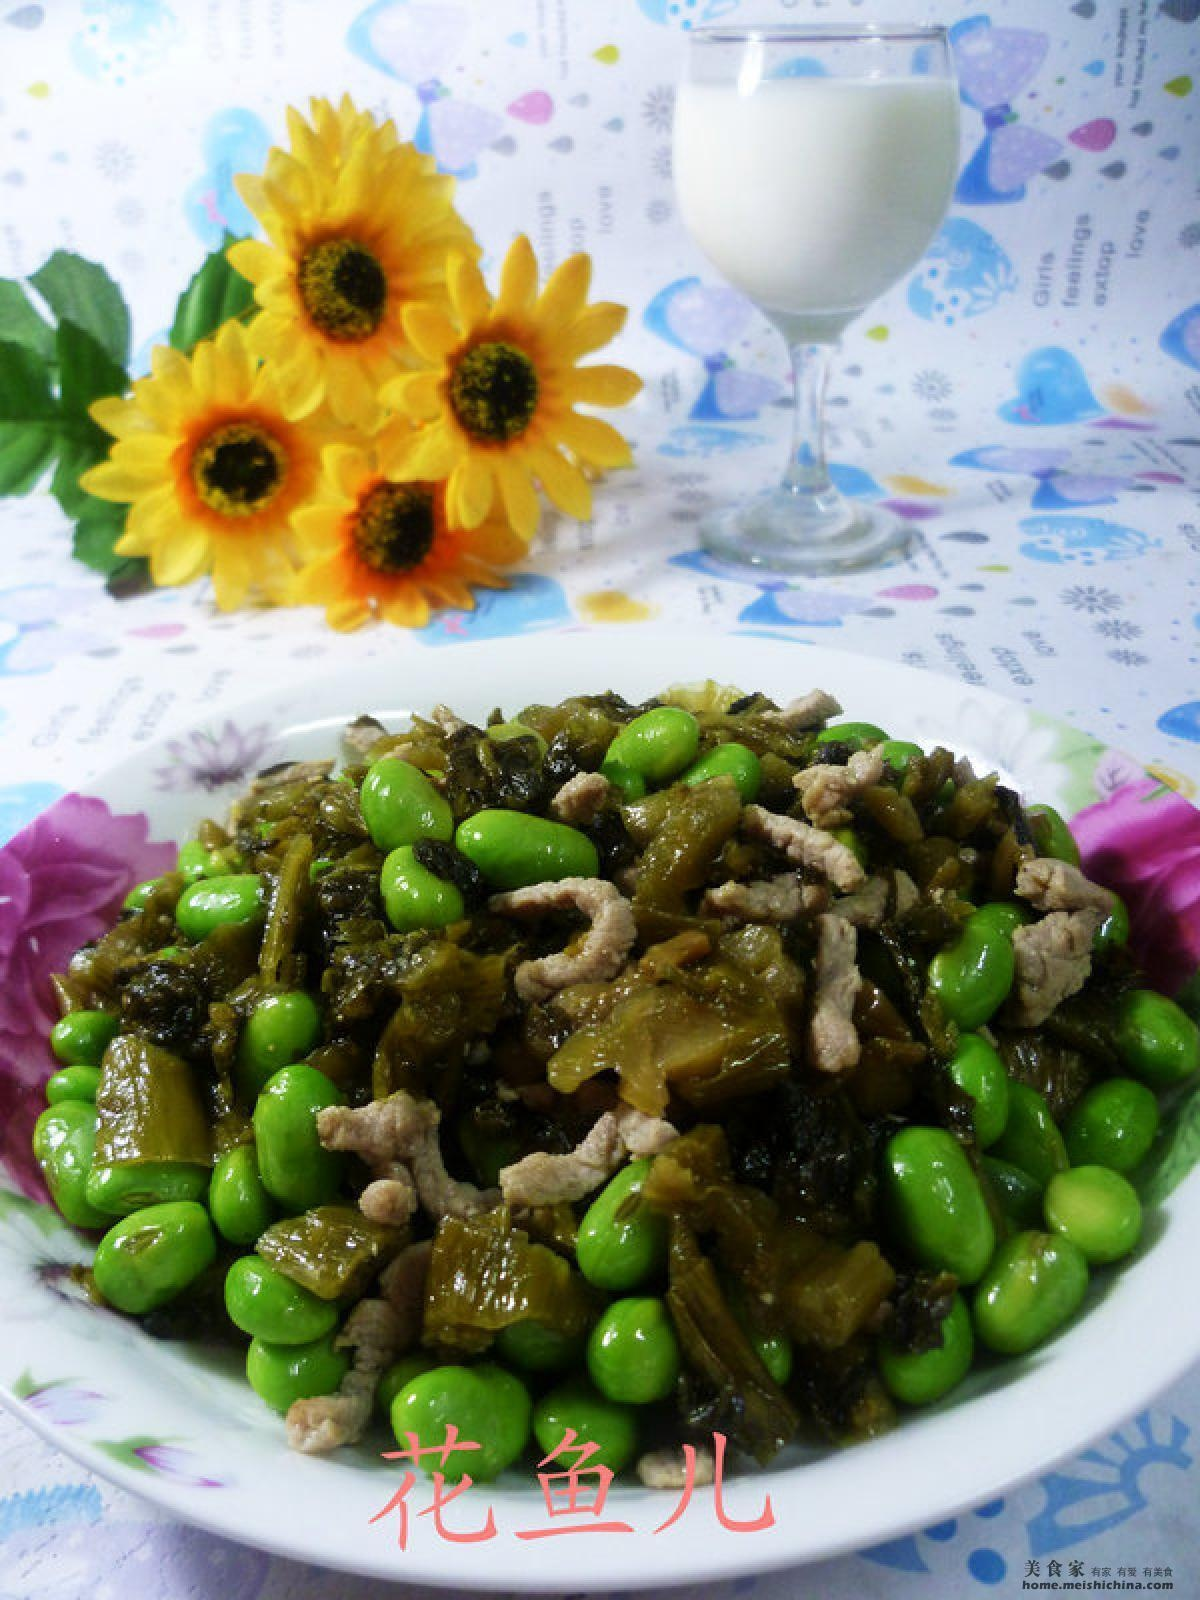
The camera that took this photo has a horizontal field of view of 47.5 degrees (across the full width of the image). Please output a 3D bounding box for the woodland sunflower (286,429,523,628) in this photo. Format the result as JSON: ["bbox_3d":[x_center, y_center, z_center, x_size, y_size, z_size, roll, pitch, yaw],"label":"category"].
[{"bbox_3d":[-0.264,-0.368,1.844,0.304,0.231,0.137,-17,28,-37],"label":"woodland sunflower"}]

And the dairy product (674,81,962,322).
[{"bbox_3d":[0.288,-0.876,2.069,0.301,0.331,0.405,-14,23,-21],"label":"dairy product"}]

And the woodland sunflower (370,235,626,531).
[{"bbox_3d":[-0.182,-0.563,1.904,0.404,0.371,0.259,-10,20,-21],"label":"woodland sunflower"}]

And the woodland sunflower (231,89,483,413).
[{"bbox_3d":[-0.309,-0.662,1.695,0.139,0.346,0.288,22,48,28],"label":"woodland sunflower"}]

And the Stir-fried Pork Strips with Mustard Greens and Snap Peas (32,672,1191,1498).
[{"bbox_3d":[-0.055,0.091,1.116,0.880,0.416,0.646,-7,9,-18],"label":"Stir-fried Pork Strips with Mustard Greens and Snap Peas"}]

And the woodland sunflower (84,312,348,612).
[{"bbox_3d":[-0.499,-0.412,1.741,0.388,0.354,0.143,18,10,-25],"label":"woodland sunflower"}]
